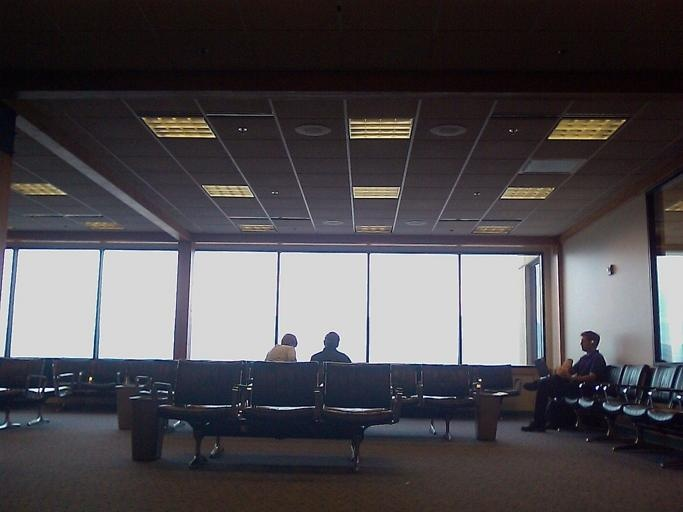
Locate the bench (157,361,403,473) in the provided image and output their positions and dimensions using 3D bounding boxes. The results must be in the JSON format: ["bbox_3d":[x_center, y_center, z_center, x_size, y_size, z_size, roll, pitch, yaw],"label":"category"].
[{"bbox_3d":[-0.733,1.852,6.416,2.876,0.913,0.860,1,-5,-1],"label":"bench"}]

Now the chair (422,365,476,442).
[{"bbox_3d":[1.661,2.215,8.256,0.912,0.936,1.048,-1,-12,6],"label":"chair"}]

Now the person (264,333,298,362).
[{"bbox_3d":[-0.916,1.416,8.248,0.441,0.442,0.862,3,-13,-6],"label":"person"}]
